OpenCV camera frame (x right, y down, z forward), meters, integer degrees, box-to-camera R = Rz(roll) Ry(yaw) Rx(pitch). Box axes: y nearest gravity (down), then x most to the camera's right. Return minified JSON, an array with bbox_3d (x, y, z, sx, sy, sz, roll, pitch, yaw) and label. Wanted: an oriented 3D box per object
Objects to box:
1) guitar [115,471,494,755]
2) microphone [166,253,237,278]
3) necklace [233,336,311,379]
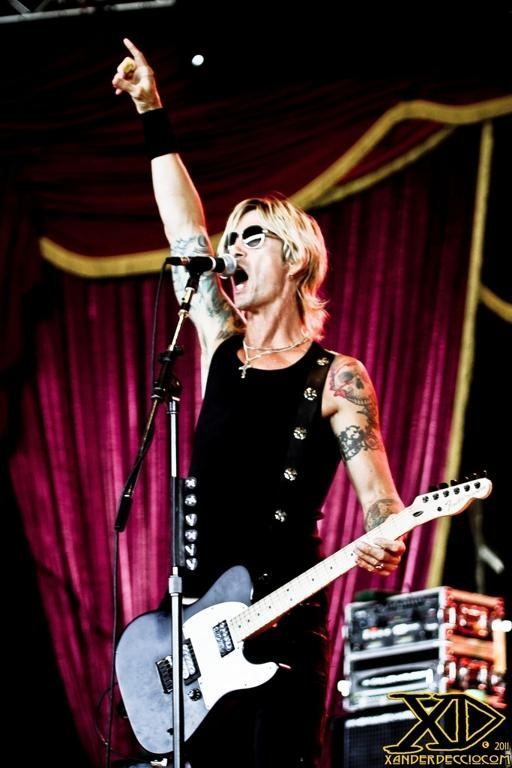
[{"bbox_3d":[0.203,0.735,2.926,1.392,0.475,0.185,-37,-30,15],"label":"guitar"},{"bbox_3d":[-0.180,-0.362,2.757,0.080,0.073,0.247,-39,-20,33],"label":"microphone"},{"bbox_3d":[0.036,-0.093,3.093,0.285,0.097,0.050,-11,-27,30],"label":"necklace"}]
